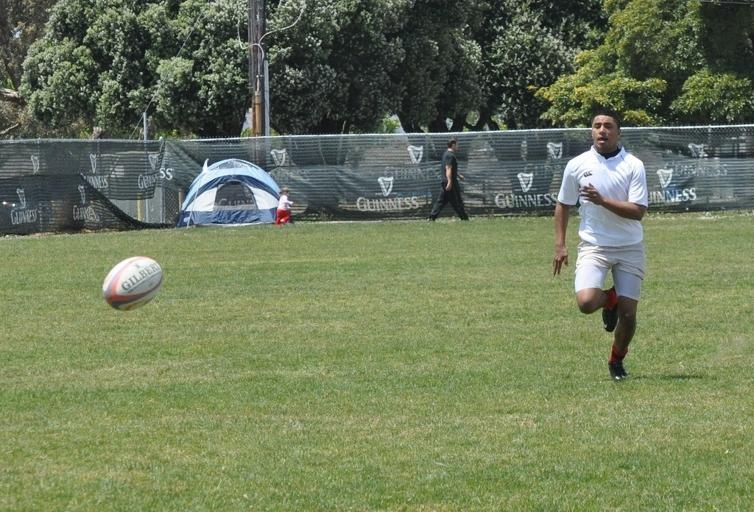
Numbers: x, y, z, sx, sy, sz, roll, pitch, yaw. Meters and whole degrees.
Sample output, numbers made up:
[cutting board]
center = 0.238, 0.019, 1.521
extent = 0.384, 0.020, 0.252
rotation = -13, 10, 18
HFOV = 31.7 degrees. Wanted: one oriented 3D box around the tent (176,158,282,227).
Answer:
[tent]
center = -4.066, -2.164, 37.424
extent = 3.046, 1.373, 2.808
rotation = -1, 25, -7
